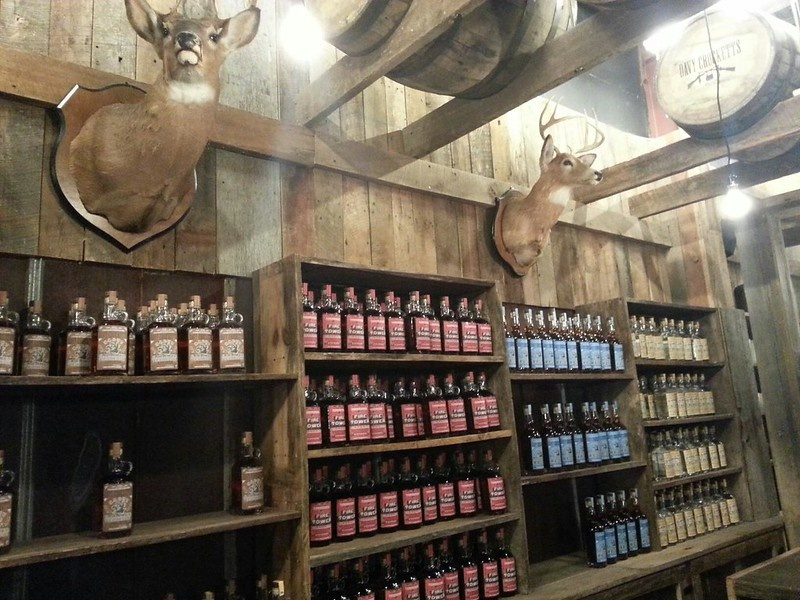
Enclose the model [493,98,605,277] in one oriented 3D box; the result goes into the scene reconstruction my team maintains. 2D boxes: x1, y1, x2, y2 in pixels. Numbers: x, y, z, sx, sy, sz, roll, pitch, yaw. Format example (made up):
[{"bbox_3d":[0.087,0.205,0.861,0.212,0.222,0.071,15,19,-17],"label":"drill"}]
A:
[{"bbox_3d":[0.885,-0.590,4.126,0.289,0.731,0.678,8,-18,-40],"label":"model"}]
